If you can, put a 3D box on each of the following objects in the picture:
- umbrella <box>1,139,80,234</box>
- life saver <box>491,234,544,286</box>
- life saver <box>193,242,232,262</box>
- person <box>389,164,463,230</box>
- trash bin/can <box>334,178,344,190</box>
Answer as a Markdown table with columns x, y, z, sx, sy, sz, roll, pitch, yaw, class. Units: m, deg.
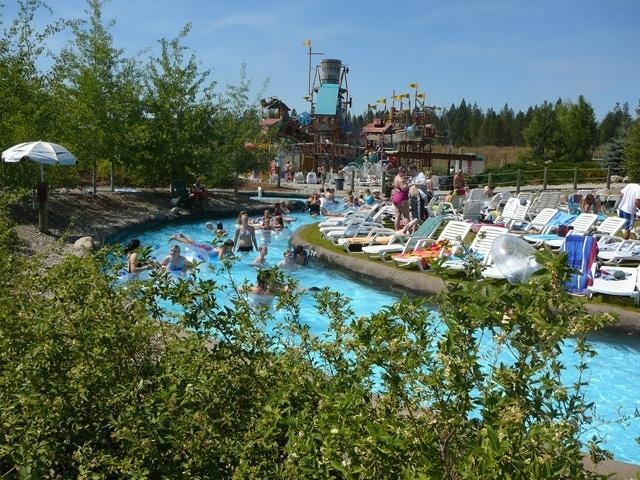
| x | y | z | sx | sy | sz | roll | pitch | yaw | class |
| --- | --- | --- | --- | --- | --- | --- | --- | --- | --- |
| -6.609 | -1.172 | 12.680 | 1.717 | 2.247 | 1.569 | -4 | 9 | -43 | umbrella |
| 2.882 | 0.254 | 7.865 | 0.521 | 0.613 | 0.776 | 1 | 8 | -1 | life saver |
| -2.139 | 0.231 | 10.622 | 0.655 | 0.273 | 0.410 | 4 | 16 | 20 | life saver |
| 2.414 | -1.180 | 14.452 | 0.658 | 2.173 | 0.869 | 0 | 1 | 24 | person |
| 1.261 | -3.765 | 35.099 | 0.654 | 0.749 | 0.693 | -1 | 28 | -1 | trash bin/can |
